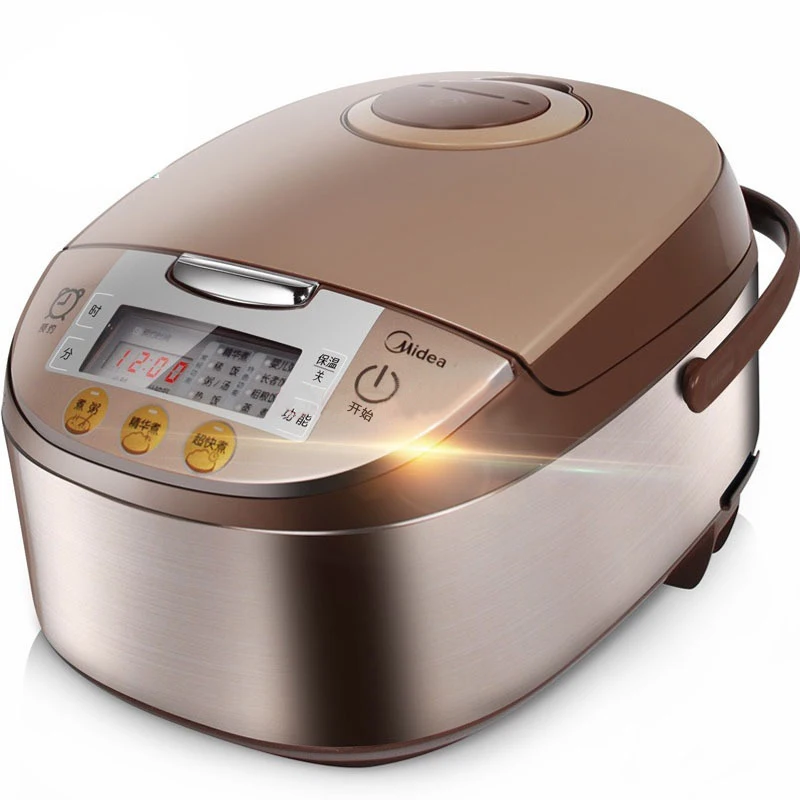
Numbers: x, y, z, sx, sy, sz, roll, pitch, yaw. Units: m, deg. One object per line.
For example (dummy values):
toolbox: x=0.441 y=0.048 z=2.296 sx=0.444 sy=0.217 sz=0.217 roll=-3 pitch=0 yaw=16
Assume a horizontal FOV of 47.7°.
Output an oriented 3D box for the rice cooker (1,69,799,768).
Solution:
rice cooker: x=0.028 y=-0.037 z=0.813 sx=0.553 sy=0.342 sz=0.693 roll=22 pitch=37 yaw=32
